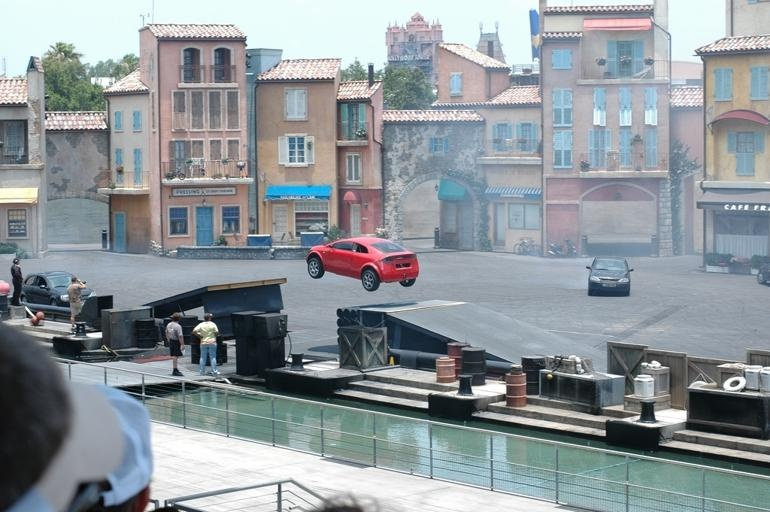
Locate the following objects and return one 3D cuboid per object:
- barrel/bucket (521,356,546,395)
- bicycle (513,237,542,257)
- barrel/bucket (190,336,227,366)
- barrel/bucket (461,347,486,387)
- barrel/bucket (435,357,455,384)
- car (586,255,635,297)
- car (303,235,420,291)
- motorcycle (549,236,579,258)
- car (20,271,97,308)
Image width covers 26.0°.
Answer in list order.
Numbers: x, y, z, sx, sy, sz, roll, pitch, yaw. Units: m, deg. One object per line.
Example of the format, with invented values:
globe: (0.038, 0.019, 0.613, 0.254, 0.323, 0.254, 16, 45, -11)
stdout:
barrel/bucket: (6.113, 4.874, 68.377, 0.930, 1.565, 0.435, 0, -1, 2)
bicycle: (8.980, -0.586, 103.951, 1.400, 0.591, 1.066, 3, -3, 0)
barrel/bucket: (-7.841, 4.192, 73.473, 1.488, 1.210, 1.384, 1, 2, 0)
barrel/bucket: (3.736, 4.579, 69.290, 1.046, 1.556, 0.664, 0, -1, -14)
barrel/bucket: (2.589, 4.752, 69.826, 0.849, 1.083, 0.568, 0, -1, -4)
car: (11.860, 1.118, 87.648, 2.344, 1.665, 4.208, 0, -3, 8)
car: (-1.185, 0.349, 80.982, 5.829, 2.627, 2.171, -1, -2, 36)
motorcycle: (11.037, -0.462, 103.546, 2.155, 1.295, 1.076, 0, 5, 4)
car: (-15.863, 1.574, 80.952, 3.507, 1.490, 2.005, -4, -2, 39)
